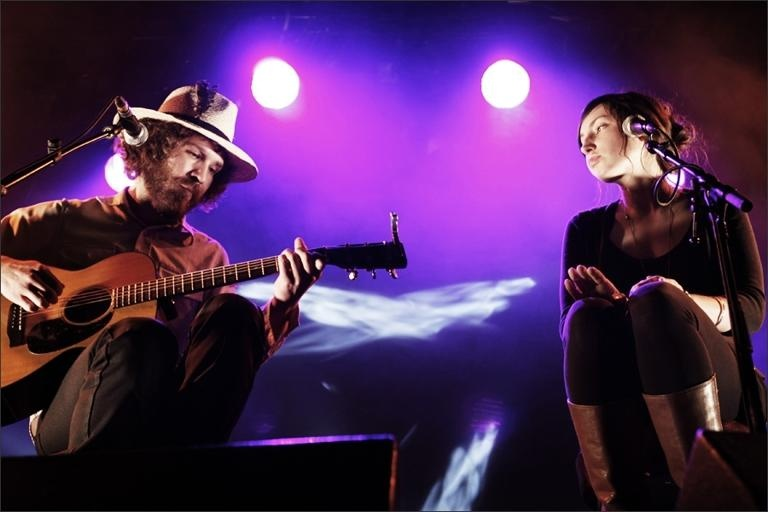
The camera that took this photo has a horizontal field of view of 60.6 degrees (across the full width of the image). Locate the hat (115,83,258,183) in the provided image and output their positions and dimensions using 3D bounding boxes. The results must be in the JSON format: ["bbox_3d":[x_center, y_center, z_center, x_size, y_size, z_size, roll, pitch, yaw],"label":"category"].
[{"bbox_3d":[-1.203,-0.730,4.230,0.719,0.293,0.661,30,-4,12],"label":"hat"}]

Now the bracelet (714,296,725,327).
[{"bbox_3d":[1.979,0.332,3.872,0.102,0.147,0.055,1,-10,32],"label":"bracelet"}]

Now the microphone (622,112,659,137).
[{"bbox_3d":[1.551,-0.798,4.002,0.171,0.114,0.137,30,4,28],"label":"microphone"}]
